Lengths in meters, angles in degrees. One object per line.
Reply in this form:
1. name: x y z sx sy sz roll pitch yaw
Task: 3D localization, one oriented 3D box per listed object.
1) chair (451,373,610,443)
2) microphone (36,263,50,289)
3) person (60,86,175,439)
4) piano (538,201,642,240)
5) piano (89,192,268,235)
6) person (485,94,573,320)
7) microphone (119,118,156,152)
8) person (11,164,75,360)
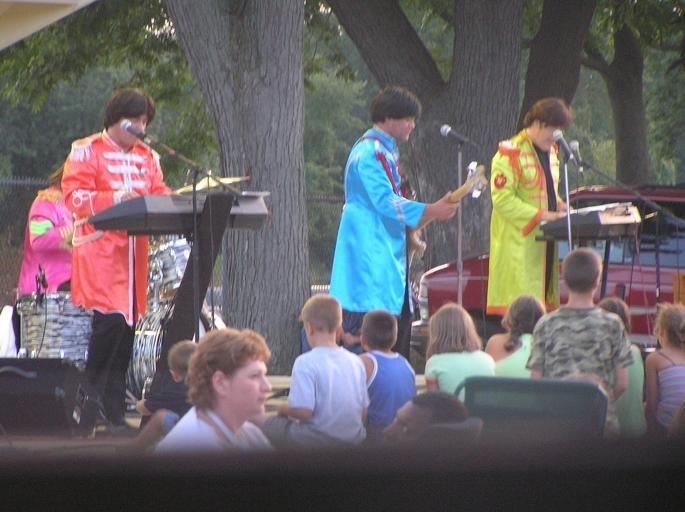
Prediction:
1. chair: 1.466 1.146 12.477 1.075 0.469 0.201 3 -2 -6
2. microphone: -2.707 0.156 14.818 0.117 0.229 0.120 2 -2 7
3. person: -1.992 -0.027 14.145 0.847 3.124 0.818 -8 14 -37
4. piano: 2.114 -0.336 14.067 0.857 0.343 0.430 2 -3 6
5. piano: -1.334 -0.406 13.392 1.443 0.389 0.459 3 -3 -11
6. person: 1.609 -0.461 14.455 0.545 2.147 0.639 1 9 12
7. microphone: -1.699 -1.113 13.644 0.499 0.143 0.140 34 -12 35
8. person: -2.651 0.003 14.758 0.479 1.714 0.605 -1 10 -19
